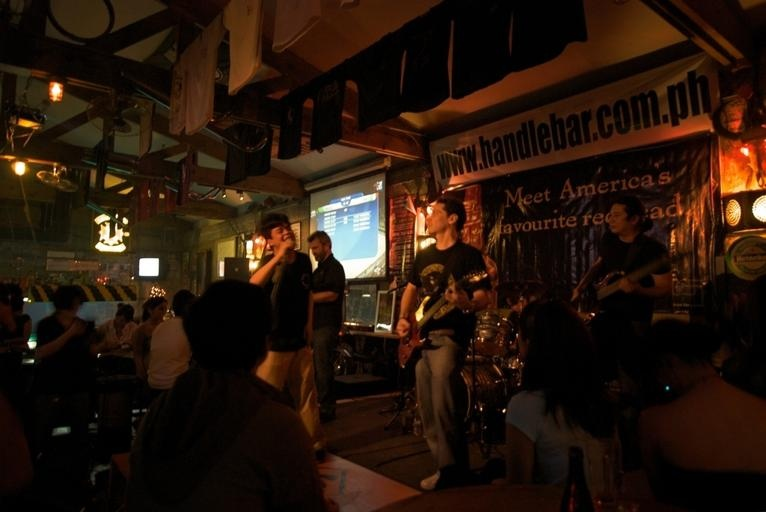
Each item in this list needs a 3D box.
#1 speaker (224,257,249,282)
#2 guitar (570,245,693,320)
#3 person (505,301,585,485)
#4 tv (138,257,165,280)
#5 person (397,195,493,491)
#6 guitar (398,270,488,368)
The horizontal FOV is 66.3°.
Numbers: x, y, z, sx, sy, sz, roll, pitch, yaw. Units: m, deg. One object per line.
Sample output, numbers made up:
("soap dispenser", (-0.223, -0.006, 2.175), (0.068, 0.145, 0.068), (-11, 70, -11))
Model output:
("speaker", (-2.187, 0.196, 8.772), (0.311, 0.293, 0.237), (0, -3, -4))
("guitar", (2.926, 0.388, 7.034), (0.672, 0.208, 1.725), (-11, 7, 30))
("person", (1.245, 1.027, 4.422), (0.605, 1.352, 0.243), (1, 3, 14))
("tv", (-5.649, 0.295, 14.299), (0.525, 0.503, 0.508), (-2, 5, -24))
("person", (0.618, 0.816, 5.960), (0.821, 2.797, 0.920), (0, 3, -7))
("guitar", (0.626, 0.585, 6.115), (0.159, 0.620, 1.359), (-6, -27, -29))
